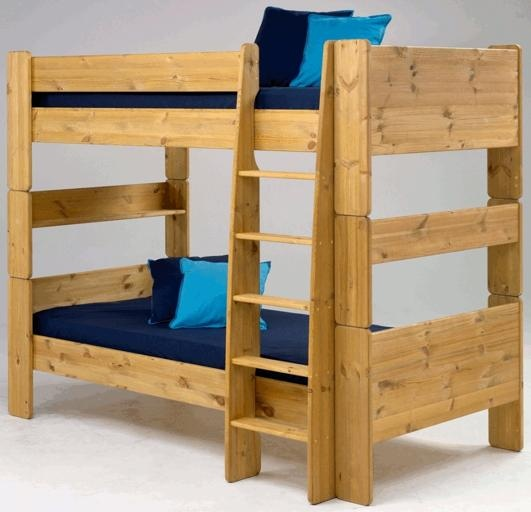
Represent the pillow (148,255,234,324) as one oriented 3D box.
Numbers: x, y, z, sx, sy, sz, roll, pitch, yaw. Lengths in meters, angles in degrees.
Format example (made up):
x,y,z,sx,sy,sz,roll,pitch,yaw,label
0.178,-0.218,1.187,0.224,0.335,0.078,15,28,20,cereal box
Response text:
x,y,z,sx,sy,sz,roll,pitch,yaw,label
-0.571,0.215,3.810,0.485,0.358,0.123,1,-20,-8,pillow
